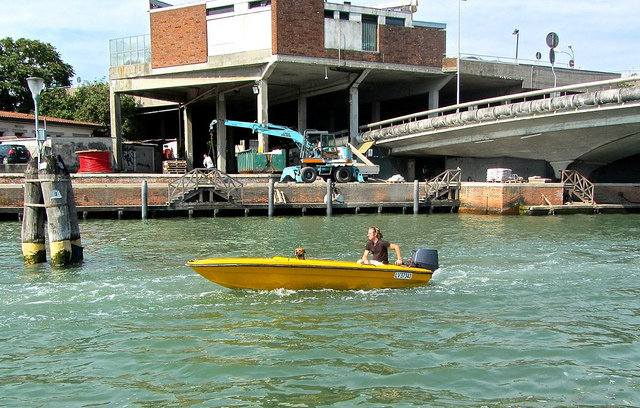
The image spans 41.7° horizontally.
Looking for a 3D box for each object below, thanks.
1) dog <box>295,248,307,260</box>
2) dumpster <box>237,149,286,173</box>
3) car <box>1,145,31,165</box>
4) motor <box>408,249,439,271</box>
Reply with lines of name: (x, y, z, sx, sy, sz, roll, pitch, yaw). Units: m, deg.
dog: (-0.855, 2.130, 35.586, 0.644, 0.606, 1.378, 1, -4, 2)
dumpster: (-3.912, -3.045, 61.772, 2.318, 1.146, 2.925, 0, 1, -19)
car: (-19.514, -3.194, 54.041, 1.621, 1.290, 1.253, -1, 0, -29)
motor: (4.317, 2.364, 35.391, 1.137, 0.826, 0.502, -1, 0, 5)
